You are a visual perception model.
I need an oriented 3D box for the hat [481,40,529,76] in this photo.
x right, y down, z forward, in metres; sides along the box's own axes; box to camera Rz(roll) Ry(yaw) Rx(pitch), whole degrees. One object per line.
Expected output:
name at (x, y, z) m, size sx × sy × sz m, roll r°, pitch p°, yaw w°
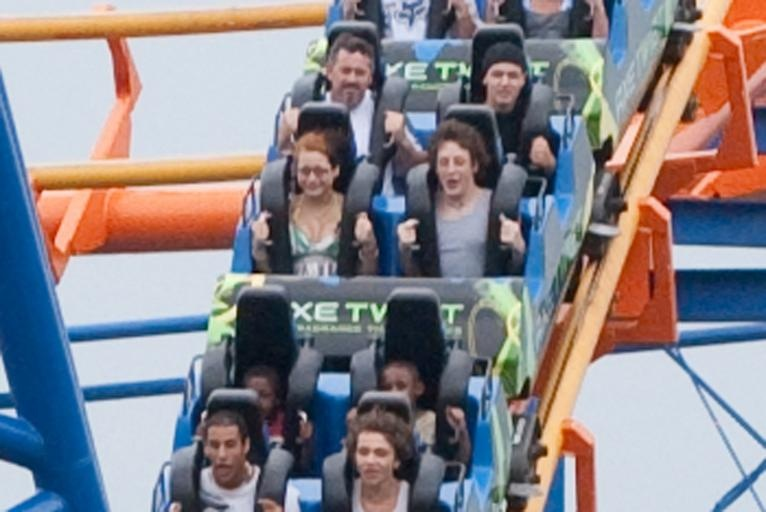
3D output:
hat at (0.915, -1.561, 15.521) m, size 0.243 × 0.169 × 0.257 m, roll -23°, pitch 34°, yaw -10°
